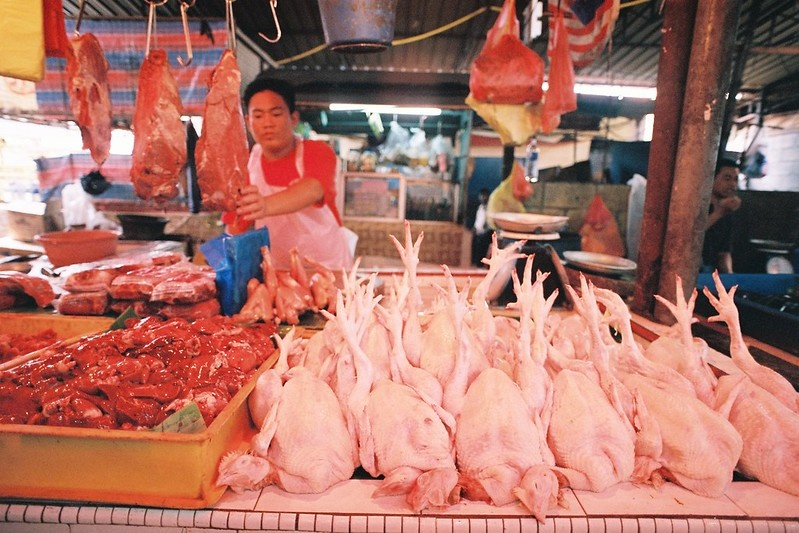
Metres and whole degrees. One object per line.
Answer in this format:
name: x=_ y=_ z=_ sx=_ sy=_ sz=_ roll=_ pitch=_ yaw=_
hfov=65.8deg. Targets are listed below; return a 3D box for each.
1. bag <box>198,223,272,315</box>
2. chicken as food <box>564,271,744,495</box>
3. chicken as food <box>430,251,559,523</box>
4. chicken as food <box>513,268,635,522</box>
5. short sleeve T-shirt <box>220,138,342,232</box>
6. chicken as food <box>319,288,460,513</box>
bag: x=-1.156 y=-0.022 z=4.417 sx=0.379 sy=0.485 sz=0.498 roll=16 pitch=25 yaw=33
chicken as food: x=1.549 y=0.801 z=3.615 sx=0.705 sy=0.282 sz=1.217 roll=-24 pitch=27 yaw=3
chicken as food: x=0.517 y=0.612 z=3.447 sx=0.489 sy=1.415 sz=0.553 roll=-4 pitch=-3 yaw=0
chicken as food: x=1.043 y=0.712 z=3.505 sx=0.625 sy=1.252 sz=0.366 roll=-25 pitch=-26 yaw=25
short sleeve T-shirt: x=-0.867 y=-0.632 z=5.206 sx=0.804 sy=0.831 sz=0.357 roll=5 pitch=-2 yaw=23
chicken as food: x=-0.122 y=0.942 z=3.566 sx=0.631 sy=1.564 sz=0.622 roll=12 pitch=35 yaw=37
